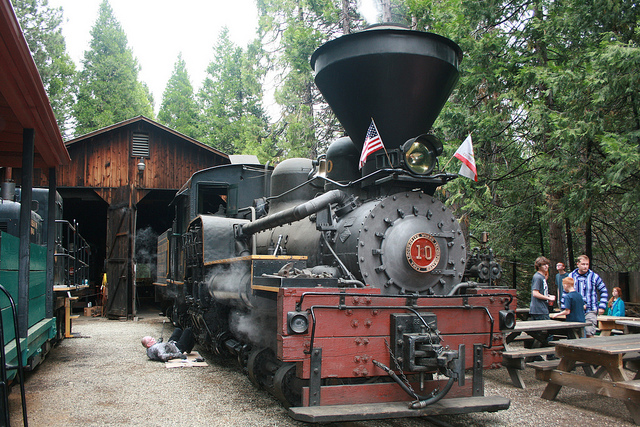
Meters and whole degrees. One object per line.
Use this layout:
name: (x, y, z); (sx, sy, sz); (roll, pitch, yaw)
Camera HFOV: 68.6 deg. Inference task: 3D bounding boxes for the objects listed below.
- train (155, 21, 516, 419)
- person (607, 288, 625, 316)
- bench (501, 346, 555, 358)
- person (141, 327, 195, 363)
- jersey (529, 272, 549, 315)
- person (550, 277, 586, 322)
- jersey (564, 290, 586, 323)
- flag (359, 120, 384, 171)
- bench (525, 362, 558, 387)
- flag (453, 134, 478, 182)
train: (-0.665, 0.964, 10.885); (3.822, 4.391, 10.601); (3, -6, -22)
person: (7.158, 2.106, 11.341); (0.313, 0.676, 1.295); (-1, -4, 31)
bench: (3.675, 2.481, 8.321); (1.121, 0.141, 0.350); (3, -4, -31)
person: (-3.147, 2.800, 9.900); (0.684, 0.417, 0.828); (-11, -1, -35)
jersey: (4.375, 1.593, 9.349); (0.314, 0.833, 0.401); (0, -3, 20)
person: (4.846, 1.650, 9.075); (0.368, 0.832, 0.421); (2, -3, -26)
jersey: (4.854, 1.776, 8.945); (0.334, 0.575, 0.396); (-1, -3, 27)
flag: (0.786, -1.041, 7.005); (0.341, 0.687, 0.346); (0, -3, 7)
bench: (3.709, 2.587, 7.731); (0.326, 0.160, 0.700); (-1, -3, 4)
flag: (2.404, -0.940, 7.735); (0.335, 0.822, 0.741); (0, -3, 16)
